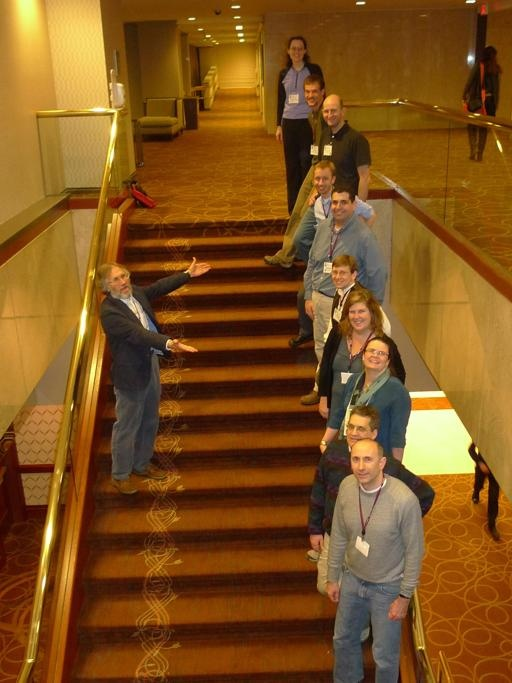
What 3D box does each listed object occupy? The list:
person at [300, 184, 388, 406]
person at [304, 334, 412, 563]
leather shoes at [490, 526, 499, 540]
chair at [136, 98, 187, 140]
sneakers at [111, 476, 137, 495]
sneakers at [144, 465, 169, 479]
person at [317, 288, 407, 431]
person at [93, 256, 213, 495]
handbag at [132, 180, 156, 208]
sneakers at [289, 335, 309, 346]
[{"bbox_3d":[0.513,-0.221,3.379,0.365,1.050,0.236,2,-13,11],"label":"person"},{"bbox_3d":[0.487,0.479,2.349,0.336,1.005,0.300,19,23,35],"label":"person"},{"bbox_3d":[3.009,2.418,6.489,0.054,0.063,0.156,-6,24,8],"label":"leather shoes"},{"bbox_3d":[-2.565,-6.134,14.189,0.975,1.443,2.145,-4,11,-1],"label":"chair"},{"bbox_3d":[-0.892,0.964,3.486,0.084,0.090,0.194,-1,0,-38],"label":"sneakers"},{"bbox_3d":[-0.710,0.932,3.631,0.179,0.073,0.076,4,19,15],"label":"sneakers"},{"bbox_3d":[0.484,0.124,2.650,0.351,0.787,0.238,0,29,4],"label":"person"},{"bbox_3d":[-0.739,0.318,3.675,0.909,1.777,0.948,4,32,3],"label":"person"},{"bbox_3d":[-1.427,-1.797,6.356,0.285,0.367,0.513,-7,12,-19],"label":"handbag"},{"bbox_3d":[0.351,-0.017,4.305,0.181,0.075,0.067,-8,15,-14],"label":"sneakers"}]
